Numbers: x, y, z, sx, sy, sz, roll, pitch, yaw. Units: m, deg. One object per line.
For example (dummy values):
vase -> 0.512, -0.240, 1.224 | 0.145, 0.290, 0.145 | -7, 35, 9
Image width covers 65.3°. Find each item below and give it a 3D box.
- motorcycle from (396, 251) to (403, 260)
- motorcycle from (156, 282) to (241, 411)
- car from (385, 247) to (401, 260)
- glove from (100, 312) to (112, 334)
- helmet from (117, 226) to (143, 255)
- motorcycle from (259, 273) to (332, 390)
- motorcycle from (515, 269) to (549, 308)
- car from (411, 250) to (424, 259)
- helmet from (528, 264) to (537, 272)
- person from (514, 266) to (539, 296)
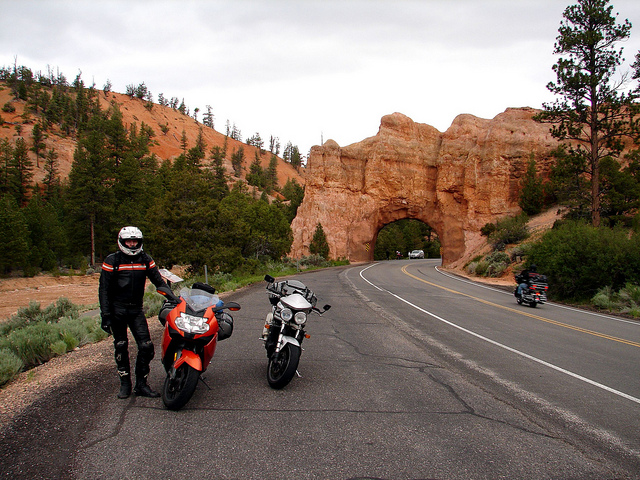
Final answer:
motorcycle -> 13.396, 2.458, 84.437 | 1.028, 1.347, 2.206 | -4, 5, 0
motorcycle -> -2.431, 1.886, 9.309 | 1.056, 2.068, 1.394 | 7, 12, 26
car -> 12.027, 2.020, 82.439 | 1.919, 1.877, 2.107 | 1, -10, -23
glove -> -3.906, 1.505, 9.130 | 0.225, 0.344, 0.116 | 4, 3, 7
helmet -> -3.549, 0.009, 9.354 | 0.403, 0.482, 0.540 | 2, -2, -28
motorcycle -> -0.659, 1.928, 9.846 | 0.890, 1.740, 1.107 | 0, 11, -7
motorcycle -> 8.040, 1.937, 19.363 | 0.748, 1.031, 1.691 | 7, -3, 6
car -> 14.663, 2.159, 75.293 | 1.061, 1.032, 2.883 | 9, 13, 33
helmet -> 8.221, 1.060, 19.318 | 0.285, 0.293, 0.286 | -16, 25, -35
person -> 8.013, 1.607, 19.274 | 0.484, 1.136, 0.819 | 29, -3, -27
